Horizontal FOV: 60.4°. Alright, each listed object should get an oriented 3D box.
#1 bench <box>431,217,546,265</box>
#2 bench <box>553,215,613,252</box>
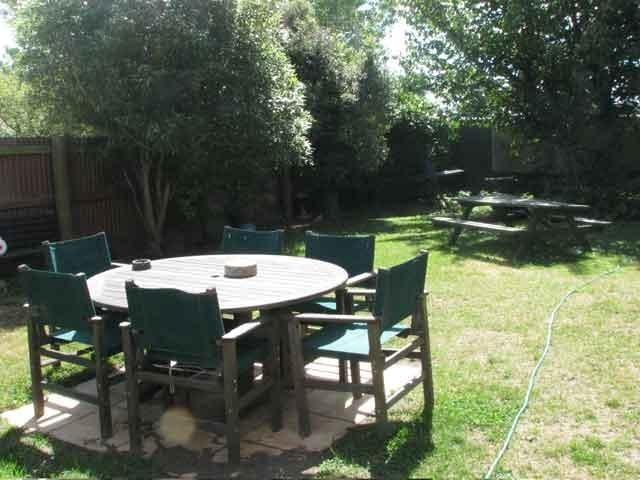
[{"bbox_3d":[3.046,-0.150,10.121,1.341,0.624,2.700,-4,14,-8],"label":"bench"},{"bbox_3d":[4.900,-0.172,10.243,0.895,0.269,0.942,0,9,16],"label":"bench"}]
